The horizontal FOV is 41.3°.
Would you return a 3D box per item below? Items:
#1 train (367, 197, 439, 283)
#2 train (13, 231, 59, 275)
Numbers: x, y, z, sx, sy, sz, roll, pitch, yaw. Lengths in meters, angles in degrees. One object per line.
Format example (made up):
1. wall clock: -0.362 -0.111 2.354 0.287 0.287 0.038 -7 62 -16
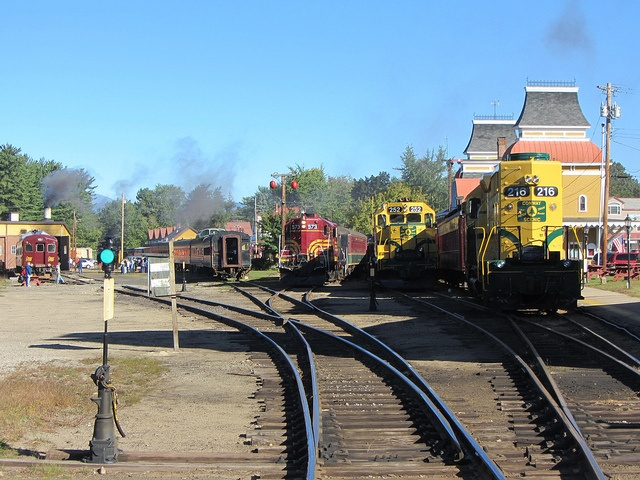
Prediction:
1. train: 4.247 1.266 42.094 2.820 4.254 8.665 -2 -19 3
2. train: -19.940 0.892 60.512 1.721 2.192 5.474 0 -1 -14
